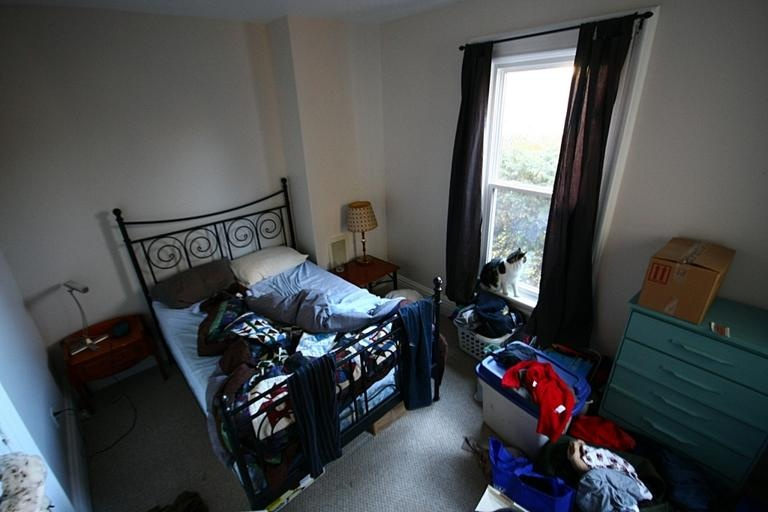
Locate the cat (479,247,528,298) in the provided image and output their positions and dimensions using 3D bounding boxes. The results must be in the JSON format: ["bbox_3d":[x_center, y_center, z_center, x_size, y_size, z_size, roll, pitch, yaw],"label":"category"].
[{"bbox_3d":[1.065,0.079,4.684,0.258,0.467,0.490,-30,34,-32],"label":"cat"}]

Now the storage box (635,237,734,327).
[{"bbox_3d":[2.146,0.160,3.637,0.441,0.484,0.521,16,26,42],"label":"storage box"}]

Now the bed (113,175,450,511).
[{"bbox_3d":[-0.911,0.789,5.031,2.109,2.178,2.831,-26,46,-28],"label":"bed"}]

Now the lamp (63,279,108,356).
[{"bbox_3d":[-2.504,0.476,4.214,0.283,0.589,0.339,-14,23,-31],"label":"lamp"}]

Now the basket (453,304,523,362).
[{"bbox_3d":[0.929,0.710,4.594,0.477,0.391,0.522,-7,19,-14],"label":"basket"}]
